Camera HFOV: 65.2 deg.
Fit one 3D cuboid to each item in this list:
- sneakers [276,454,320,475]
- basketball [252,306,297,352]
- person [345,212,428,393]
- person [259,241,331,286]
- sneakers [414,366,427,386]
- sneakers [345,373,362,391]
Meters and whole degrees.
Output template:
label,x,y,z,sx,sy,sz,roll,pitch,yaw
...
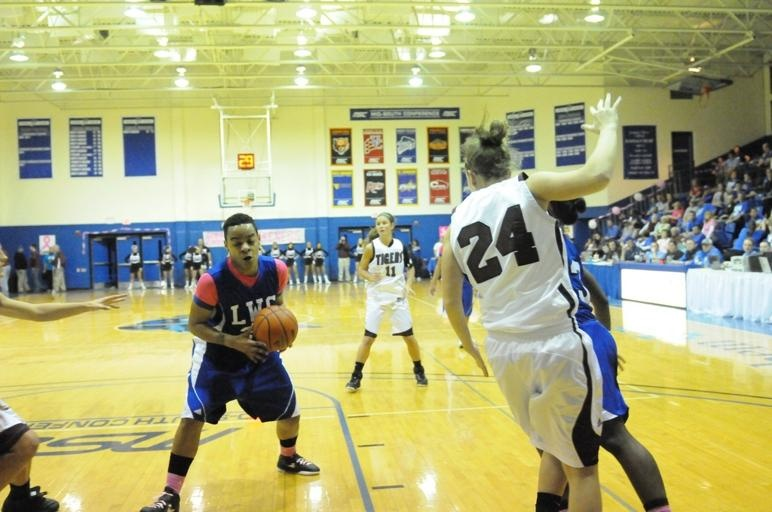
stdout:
label,x,y,z,sx,sy,sz,roll,pitch,yaw
sneakers,-0.822,1.959,5.744,0.423,0.182,0.163,3,0,2
basketball,-0.960,0.647,5.459,0.386,0.395,0.388,9,-3,1
person,-0.009,0.526,7.706,1.017,2.146,0.938,-2,5,0
person,-2.442,0.149,16.840,1.570,1.177,0.278,0,-4,-10
sneakers,0.443,1.506,7.501,0.091,0.196,0.280,-8,-27,-7
sneakers,-0.373,1.541,7.435,0.155,0.199,0.274,3,7,44
